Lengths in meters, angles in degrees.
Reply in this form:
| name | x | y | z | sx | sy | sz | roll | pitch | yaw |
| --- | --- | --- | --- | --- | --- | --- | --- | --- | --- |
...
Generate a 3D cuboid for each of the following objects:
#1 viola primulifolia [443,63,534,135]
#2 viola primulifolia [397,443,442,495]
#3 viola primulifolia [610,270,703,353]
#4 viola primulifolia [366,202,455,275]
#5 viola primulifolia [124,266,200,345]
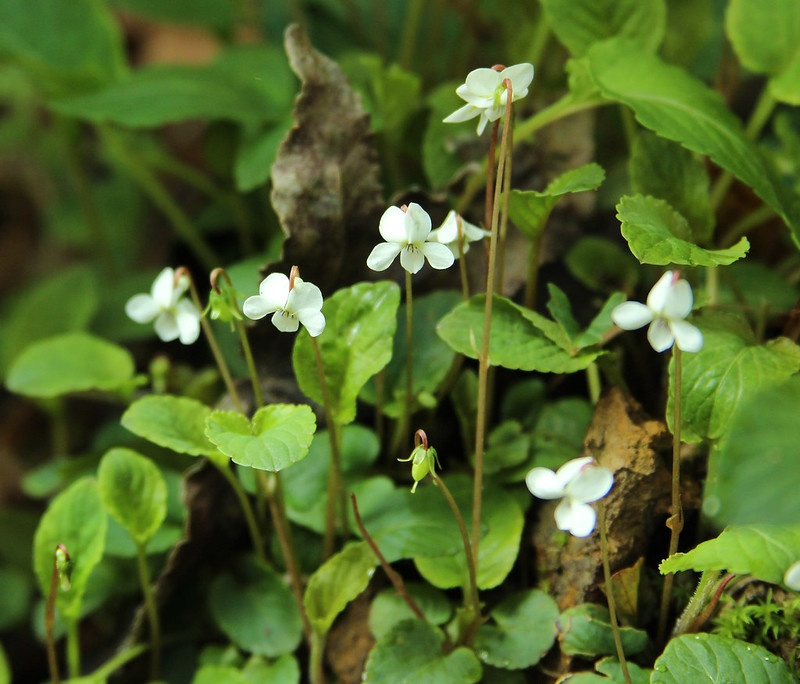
| name | x | y | z | sx | sy | sz | roll | pitch | yaw |
| --- | --- | --- | --- | --- | --- | --- | --- | --- | --- |
| viola primulifolia | 0.171 | -0.424 | 1.590 | 0.092 | 0.077 | 0.079 | -7 | -6 | -21 |
| viola primulifolia | 0.036 | 0.215 | 1.545 | 0.056 | 0.049 | 0.091 | 179 | 112 | -86 |
| viola primulifolia | 0.433 | -0.024 | 1.509 | 0.131 | 0.145 | 0.097 | -24 | 31 | 17 |
| viola primulifolia | 0.012 | -0.192 | 1.619 | 0.157 | 0.075 | 0.124 | -38 | 13 | -38 |
| viola primulifolia | -0.441 | -0.064 | 1.777 | 0.115 | 0.166 | 0.061 | -4 | 7 | 3 |
